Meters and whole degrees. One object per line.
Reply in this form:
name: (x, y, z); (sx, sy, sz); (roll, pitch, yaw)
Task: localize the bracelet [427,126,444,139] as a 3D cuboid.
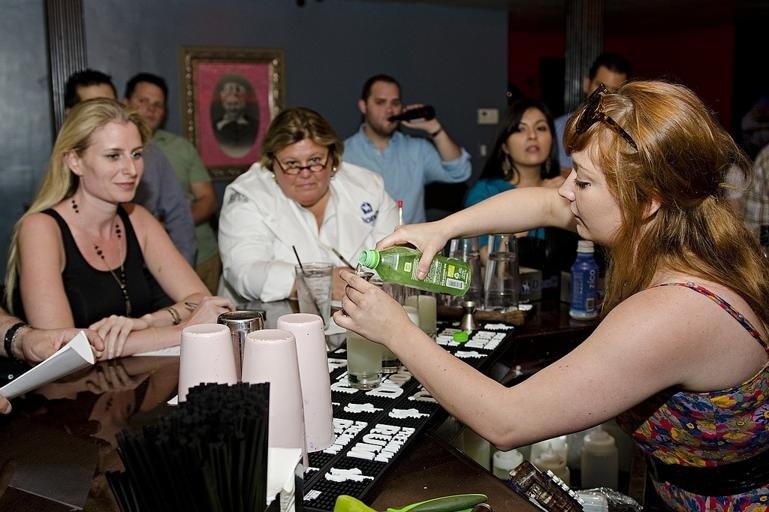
bracelet: (0.369, -0.884, 4.191); (0.073, 0.020, 0.071); (-26, -12, -46)

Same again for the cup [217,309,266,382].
cup: (-0.376, 0.237, 1.569); (0.123, 0.191, 0.185); (1, 2, 0)

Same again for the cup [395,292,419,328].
cup: (0.077, 0.168, 1.968); (0.116, 0.103, 0.068); (0, 0, -36)

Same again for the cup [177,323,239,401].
cup: (-0.432, 0.266, 1.531); (0.177, 0.199, 0.186); (1, 4, 0)

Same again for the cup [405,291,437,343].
cup: (0.137, 0.213, 2.077); (0.150, 0.172, 0.153); (-1, -1, 0)

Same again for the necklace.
necklace: (-1.227, -0.033, 2.568); (0.162, 0.611, 0.034); (-19, -2, -38)

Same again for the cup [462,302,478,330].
cup: (0.317, 0.230, 2.217); (0.094, 0.107, 0.085); (0, -3, 0)

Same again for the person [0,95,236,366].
person: (-1.069, -0.232, 2.767); (1.178, 1.258, 0.898); (5, 11, 22)

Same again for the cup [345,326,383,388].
cup: (-0.067, 0.310, 1.758); (0.148, 0.233, 0.147); (0, -2, 0)

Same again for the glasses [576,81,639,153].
glasses: (0.516, -0.325, 1.460); (0.159, 0.057, 0.138); (32, 37, -18)
